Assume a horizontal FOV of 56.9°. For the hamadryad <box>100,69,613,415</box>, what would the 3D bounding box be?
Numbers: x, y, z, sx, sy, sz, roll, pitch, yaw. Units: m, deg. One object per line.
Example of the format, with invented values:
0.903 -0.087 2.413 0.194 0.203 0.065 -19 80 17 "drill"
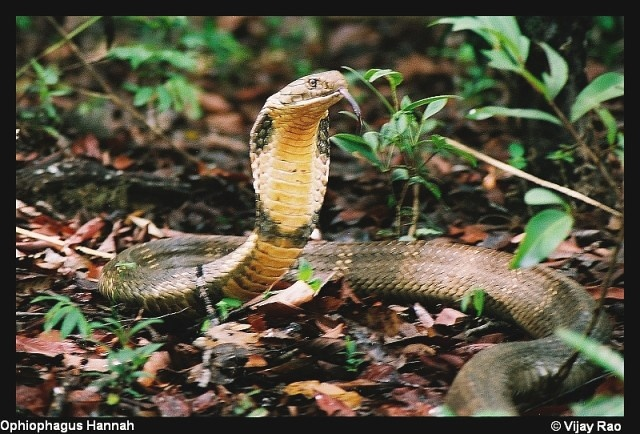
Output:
0.186 0.075 2.917 2.554 1.362 1.190 17 46 21 "hamadryad"
